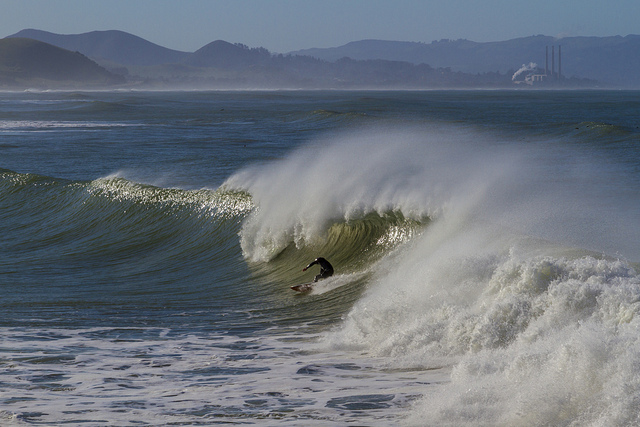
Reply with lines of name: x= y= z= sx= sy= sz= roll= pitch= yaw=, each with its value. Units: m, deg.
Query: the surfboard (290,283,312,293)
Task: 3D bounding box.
surfboard: x=-0.336 y=1.453 z=15.839 sx=0.367 sy=0.138 sz=0.394 roll=0 pitch=10 yaw=-8

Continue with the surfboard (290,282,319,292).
surfboard: x=-0.305 y=1.432 z=15.914 sx=0.513 sy=0.151 sz=0.407 roll=3 pitch=10 yaw=11

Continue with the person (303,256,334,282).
person: x=-0.027 y=1.091 z=16.316 sx=0.680 sy=0.656 sz=0.630 roll=-3 pitch=-12 yaw=16
